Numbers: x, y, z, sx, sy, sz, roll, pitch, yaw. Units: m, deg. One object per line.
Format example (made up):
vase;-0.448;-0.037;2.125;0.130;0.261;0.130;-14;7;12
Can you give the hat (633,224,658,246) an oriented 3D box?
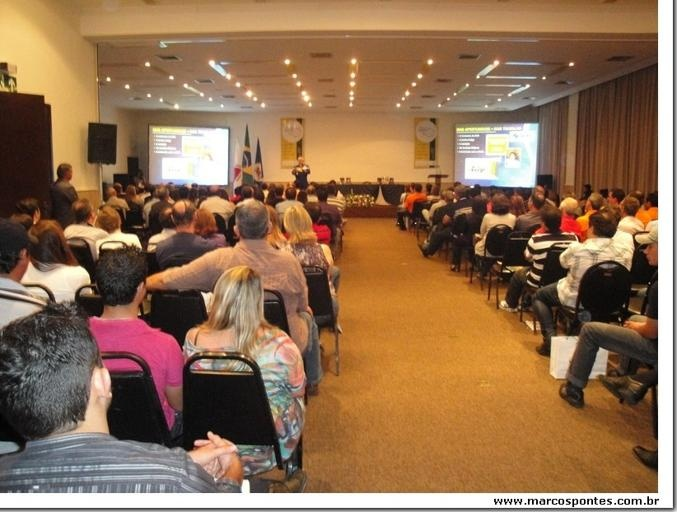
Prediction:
hat;3.263;-0.227;5.396;0.260;0.132;0.187;-18;23;16

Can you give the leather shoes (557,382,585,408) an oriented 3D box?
leather shoes;1.728;1.023;3.823;0.089;0.183;0.249;-2;20;-4

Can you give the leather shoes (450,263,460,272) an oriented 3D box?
leather shoes;1.919;0.196;8.377;0.087;0.083;0.181;1;10;1

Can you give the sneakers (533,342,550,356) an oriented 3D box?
sneakers;1.896;0.862;4.721;0.134;0.143;0.063;8;13;38

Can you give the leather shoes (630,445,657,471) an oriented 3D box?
leather shoes;1.879;1.218;3.092;0.062;0.132;0.182;-2;12;-14

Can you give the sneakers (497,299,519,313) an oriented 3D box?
sneakers;2.000;0.598;6.028;0.193;0.091;0.089;16;18;42

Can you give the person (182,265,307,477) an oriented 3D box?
person;-0.438;0.605;2.628;0.555;1.185;0.671;3;11;9

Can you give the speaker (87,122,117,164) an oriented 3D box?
speaker;-4.327;-2.057;9.191;0.413;0.934;0.603;2;6;-13

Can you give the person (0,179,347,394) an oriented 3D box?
person;-0.901;0.235;3.736;1.265;1.632;1.126;2;17;-2
